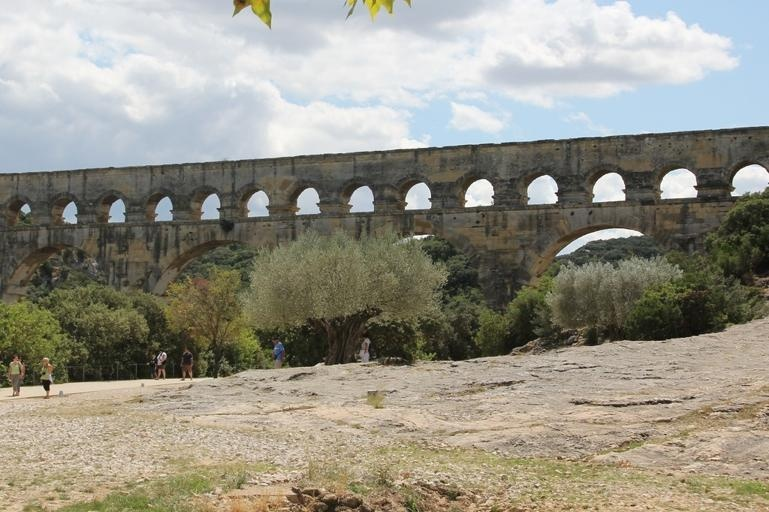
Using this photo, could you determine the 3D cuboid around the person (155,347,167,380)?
[{"bbox_3d":[-9.769,4.758,55.515,0.451,1.348,1.357,4,-11,-6],"label":"person"}]
